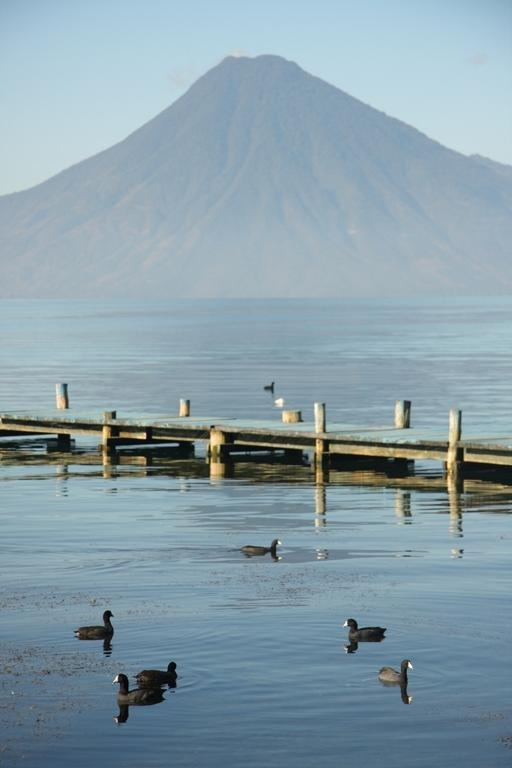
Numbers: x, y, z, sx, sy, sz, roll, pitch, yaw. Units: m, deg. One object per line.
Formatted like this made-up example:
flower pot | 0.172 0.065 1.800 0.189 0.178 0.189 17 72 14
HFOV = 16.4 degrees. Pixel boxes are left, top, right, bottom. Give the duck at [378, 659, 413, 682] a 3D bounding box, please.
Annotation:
duck | 1.565 3.382 20.752 0.482 0.294 0.175 2 4 43

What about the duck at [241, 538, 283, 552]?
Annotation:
duck | 0.055 2.605 27.826 0.665 0.293 0.232 -5 2 9

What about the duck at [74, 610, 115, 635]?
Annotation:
duck | -2.089 3.099 22.735 0.492 0.325 0.560 -1 3 -6

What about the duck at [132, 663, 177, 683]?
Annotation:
duck | -1.152 3.417 20.630 0.338 0.257 0.249 -3 0 -16

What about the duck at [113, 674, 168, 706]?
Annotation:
duck | -1.343 3.543 20.376 0.454 0.339 0.309 2 -12 -5

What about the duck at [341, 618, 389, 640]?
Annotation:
duck | 1.367 3.115 22.352 0.399 0.303 0.243 3 -8 3
